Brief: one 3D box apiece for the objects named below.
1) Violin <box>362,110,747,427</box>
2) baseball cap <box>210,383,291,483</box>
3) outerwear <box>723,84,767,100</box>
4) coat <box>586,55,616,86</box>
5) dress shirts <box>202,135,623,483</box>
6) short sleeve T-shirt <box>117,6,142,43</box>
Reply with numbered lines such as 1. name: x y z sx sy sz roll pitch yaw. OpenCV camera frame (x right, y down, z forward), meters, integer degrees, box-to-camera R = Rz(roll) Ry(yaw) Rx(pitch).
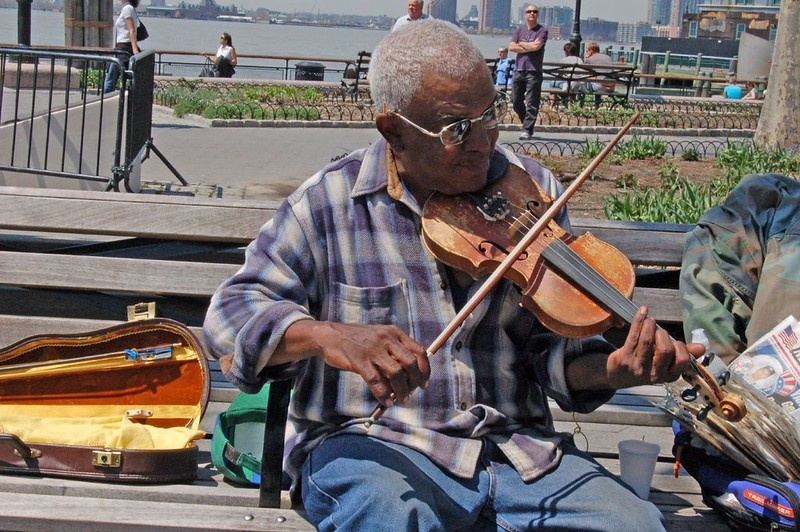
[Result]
1. Violin: 0.777 0.104 4.579 1.552 0.233 0.571 40 60 15
2. baseball cap: -0.695 0.820 5.098 0.343 0.190 0.457 -5 24 -20
3. outerwear: 9.252 -4.635 29.180 0.807 0.378 5.246 9 12 19
4. coat: 3.824 -3.729 20.896 0.431 0.690 0.714 3 -25 3
5. dress shirts: 0.006 0.232 4.660 1.465 1.506 0.553 -4 3 -9
6. short sleeve T-shirt: -3.851 -3.403 15.418 0.274 0.528 0.525 1 12 -17
